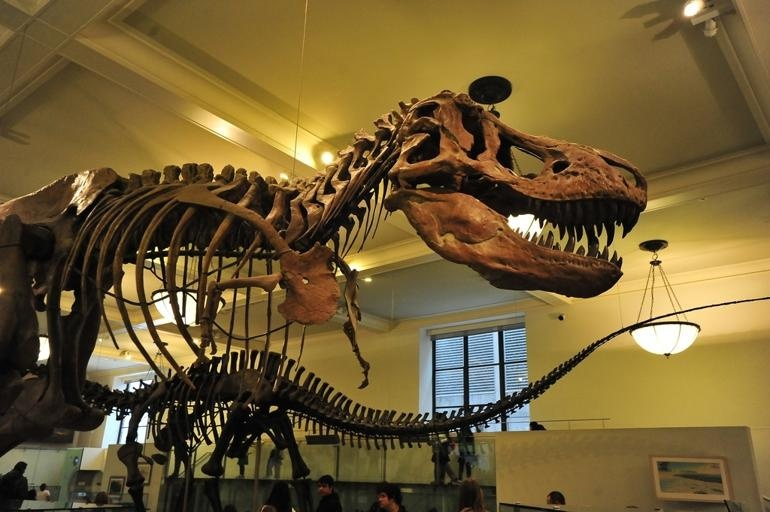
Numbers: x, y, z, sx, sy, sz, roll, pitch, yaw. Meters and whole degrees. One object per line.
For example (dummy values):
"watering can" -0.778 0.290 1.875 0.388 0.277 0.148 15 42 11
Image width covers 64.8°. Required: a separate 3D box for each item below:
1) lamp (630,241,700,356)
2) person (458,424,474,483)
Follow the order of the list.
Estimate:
"lamp" 3.948 0.652 8.729 0.825 1.652 2.006 -12 -24 24
"person" 1.040 2.591 7.783 0.237 0.469 0.727 -4 -21 5
